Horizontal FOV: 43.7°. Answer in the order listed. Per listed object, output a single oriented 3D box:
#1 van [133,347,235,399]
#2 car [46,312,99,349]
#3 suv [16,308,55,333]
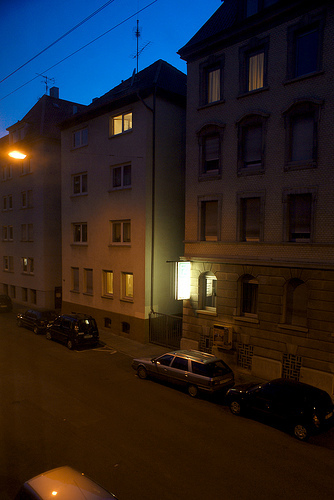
[{"bbox_3d":[0.713,4.086,14.388,2.940,1.148,1.349,9,9,44],"label":"van"},{"bbox_3d":[-4.632,4.006,20.504,1.303,1.270,2.280,2,2,-36],"label":"car"},{"bbox_3d":[-7.434,4.120,24.071,1.105,1.152,2.193,-3,14,-42],"label":"suv"}]
